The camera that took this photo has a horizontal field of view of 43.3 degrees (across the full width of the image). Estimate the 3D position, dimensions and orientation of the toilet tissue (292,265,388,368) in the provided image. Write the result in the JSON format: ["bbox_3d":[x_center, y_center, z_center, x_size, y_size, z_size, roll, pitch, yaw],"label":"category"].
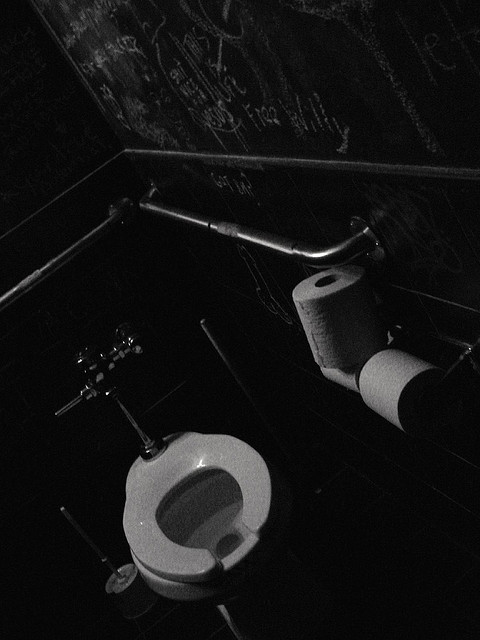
[{"bbox_3d":[0.157,0.002,0.926,0.121,0.169,0.107,-20,25,13],"label":"toilet tissue"}]
